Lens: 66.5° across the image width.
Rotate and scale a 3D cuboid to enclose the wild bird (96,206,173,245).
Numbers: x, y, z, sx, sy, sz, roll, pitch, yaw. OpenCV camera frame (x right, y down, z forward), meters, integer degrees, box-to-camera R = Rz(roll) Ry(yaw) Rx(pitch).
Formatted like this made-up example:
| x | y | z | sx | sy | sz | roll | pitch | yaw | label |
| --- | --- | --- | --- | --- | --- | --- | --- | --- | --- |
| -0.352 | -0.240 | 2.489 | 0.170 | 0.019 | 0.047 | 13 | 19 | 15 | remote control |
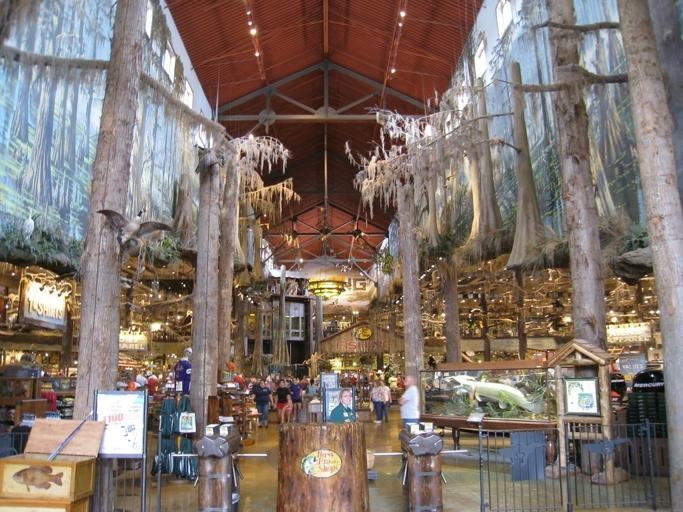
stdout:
| x | y | z | sx | sy | sz | roll | pitch | yaw | label |
| --- | --- | --- | --- | --- | --- | --- | --- | --- | --- |
| -2.807 | -0.366 | 7.055 | 0.911 | 0.449 | 0.392 | 6 | -12 | -29 | wild bird |
